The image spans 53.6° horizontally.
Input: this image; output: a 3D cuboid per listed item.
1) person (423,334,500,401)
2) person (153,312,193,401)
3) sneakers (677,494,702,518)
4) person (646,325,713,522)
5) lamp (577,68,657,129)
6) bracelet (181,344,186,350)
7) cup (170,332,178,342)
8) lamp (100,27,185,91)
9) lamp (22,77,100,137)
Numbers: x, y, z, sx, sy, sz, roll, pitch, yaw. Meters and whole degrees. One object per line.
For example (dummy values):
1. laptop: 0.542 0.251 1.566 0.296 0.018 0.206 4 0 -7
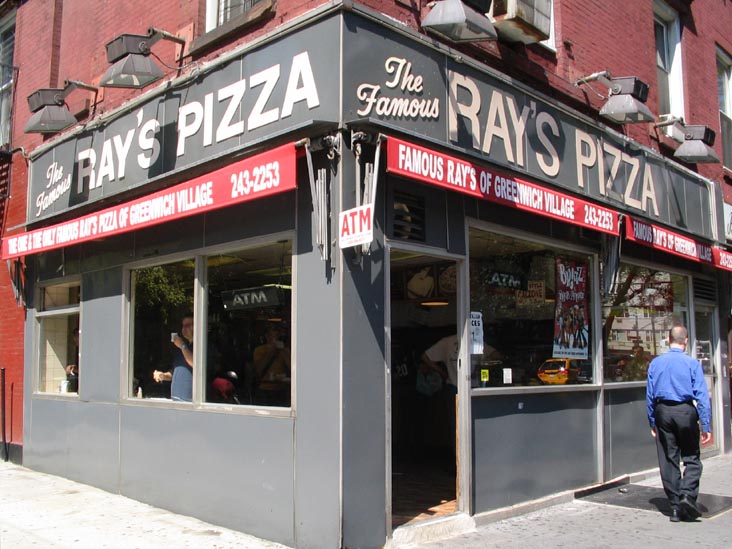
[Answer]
1. person: 1.311 1.236 10.119 0.575 0.749 1.972 0 -2 -14
2. person: -2.534 1.083 9.628 0.191 1.125 0.802 1 -2 -37
3. sneakers: 3.951 2.831 8.836 0.212 0.312 0.314 -1 -2 36
4. person: 3.880 1.829 8.989 0.712 2.328 0.451 -1 -2 22
5. lamp: 3.826 -2.629 11.024 0.980 0.747 0.835 -3 -2 33
6. bracelet: -2.418 0.953 9.576 0.054 0.021 0.057 -4 -25 13
7. cup: -2.599 0.846 9.744 0.103 0.124 0.102 0 0 0
8. lamp: -3.008 -2.879 9.852 0.737 0.695 1.027 -4 -2 23
9. lamp: -4.744 -2.533 10.962 0.967 0.671 0.414 -1 -2 29
